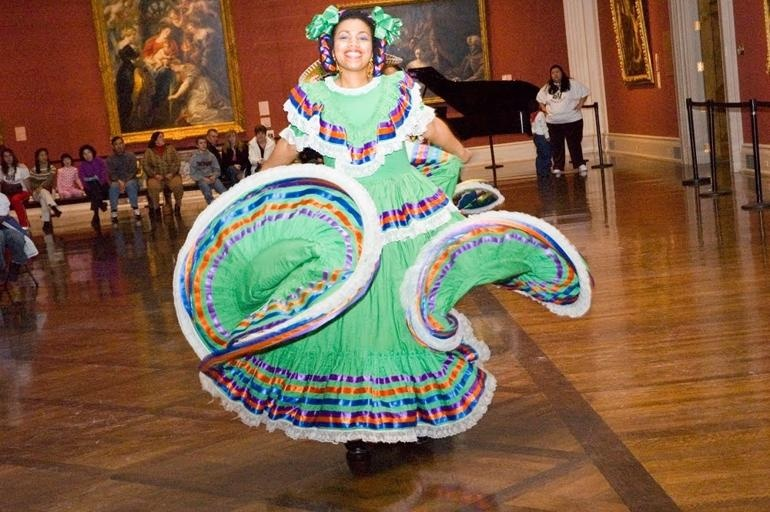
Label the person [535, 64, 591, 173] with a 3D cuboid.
[{"bbox_3d":[3.218,-2.470,11.035,0.858,1.851,0.622,-2,11,26],"label":"person"}]

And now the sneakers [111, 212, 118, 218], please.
[{"bbox_3d":[-5.142,-0.771,11.560,0.132,0.131,0.139,-1,4,-18],"label":"sneakers"}]

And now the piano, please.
[{"bbox_3d":[1.633,-2.990,11.731,2.198,1.426,1.242,2,19,4],"label":"piano"}]

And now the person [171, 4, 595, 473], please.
[{"bbox_3d":[-0.089,-0.051,2.502,1.540,1.927,0.705,-10,13,-16],"label":"person"}]

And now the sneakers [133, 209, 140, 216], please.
[{"bbox_3d":[-4.751,-0.831,11.629,0.100,0.133,0.249,-13,15,-27],"label":"sneakers"}]
